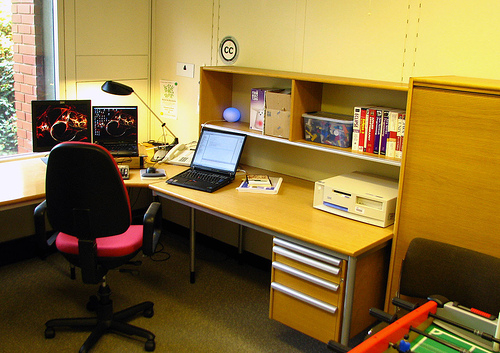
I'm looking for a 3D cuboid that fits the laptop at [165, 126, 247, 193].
[{"bbox_3d":[-0.366,-0.148,3.225,0.539,0.369,0.585,8,19,22],"label":"laptop"}]

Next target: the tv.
[{"bbox_3d":[-1.488,-0.369,3.092,0.569,0.523,0.056,-3,10,-25],"label":"tv"}]

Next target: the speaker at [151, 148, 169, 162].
[{"bbox_3d":[-0.853,-0.193,3.654,0.096,0.041,0.167,2,28,11],"label":"speaker"}]

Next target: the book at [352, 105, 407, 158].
[{"bbox_3d":[0.884,-0.296,2.691,0.176,0.300,0.326,1,15,-14],"label":"book"}]

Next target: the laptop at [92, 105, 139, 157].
[{"bbox_3d":[-1.175,-0.400,3.406,0.394,0.361,0.306,0,18,-12],"label":"laptop"}]

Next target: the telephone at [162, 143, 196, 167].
[{"bbox_3d":[-0.598,-0.210,3.673,0.331,0.121,0.342,6,25,29],"label":"telephone"}]

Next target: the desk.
[{"bbox_3d":[-0.035,0.175,2.974,2.143,1.877,1.570,14,22,37],"label":"desk"}]

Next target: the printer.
[{"bbox_3d":[0.802,0.155,2.869,0.556,0.188,0.511,18,19,39],"label":"printer"}]
